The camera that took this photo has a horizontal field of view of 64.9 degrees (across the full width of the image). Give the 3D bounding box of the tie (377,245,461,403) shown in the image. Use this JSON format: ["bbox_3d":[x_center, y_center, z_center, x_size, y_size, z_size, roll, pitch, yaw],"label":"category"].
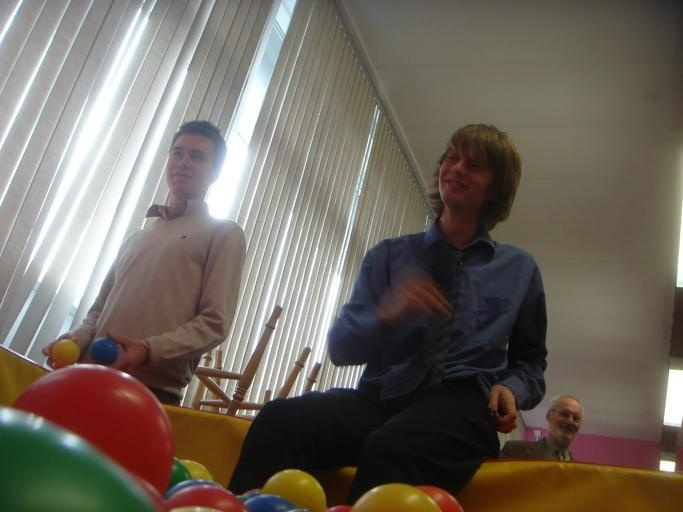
[{"bbox_3d":[0.234,0.211,1.565,0.143,0.586,0.156,-26,-64,37],"label":"tie"}]
